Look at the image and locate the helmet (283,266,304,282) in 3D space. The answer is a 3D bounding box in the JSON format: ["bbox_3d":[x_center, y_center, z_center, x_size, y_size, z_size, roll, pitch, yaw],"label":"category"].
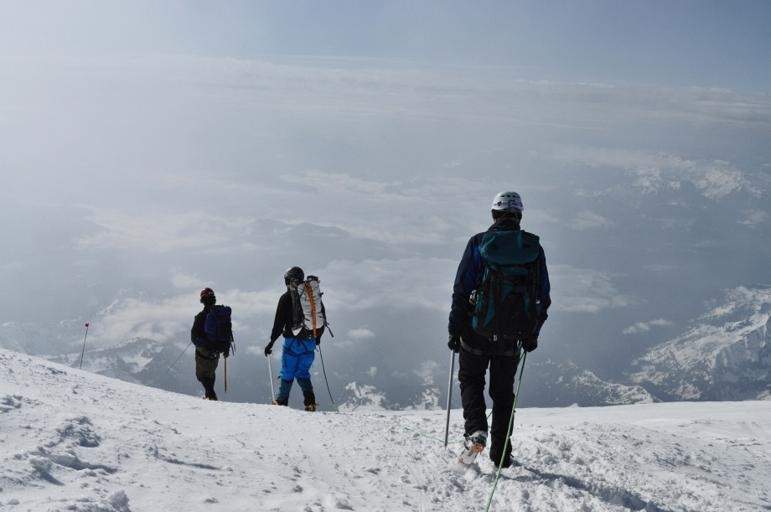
[{"bbox_3d":[-1.663,0.349,15.279,0.257,0.306,0.315,16,26,24],"label":"helmet"}]

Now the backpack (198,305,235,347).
[{"bbox_3d":[-3.883,1.658,19.269,0.699,0.990,0.476,3,12,0],"label":"backpack"}]

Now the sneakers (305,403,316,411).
[{"bbox_3d":[-1.586,3.179,17.538,0.206,0.194,0.165,2,2,19],"label":"sneakers"}]
